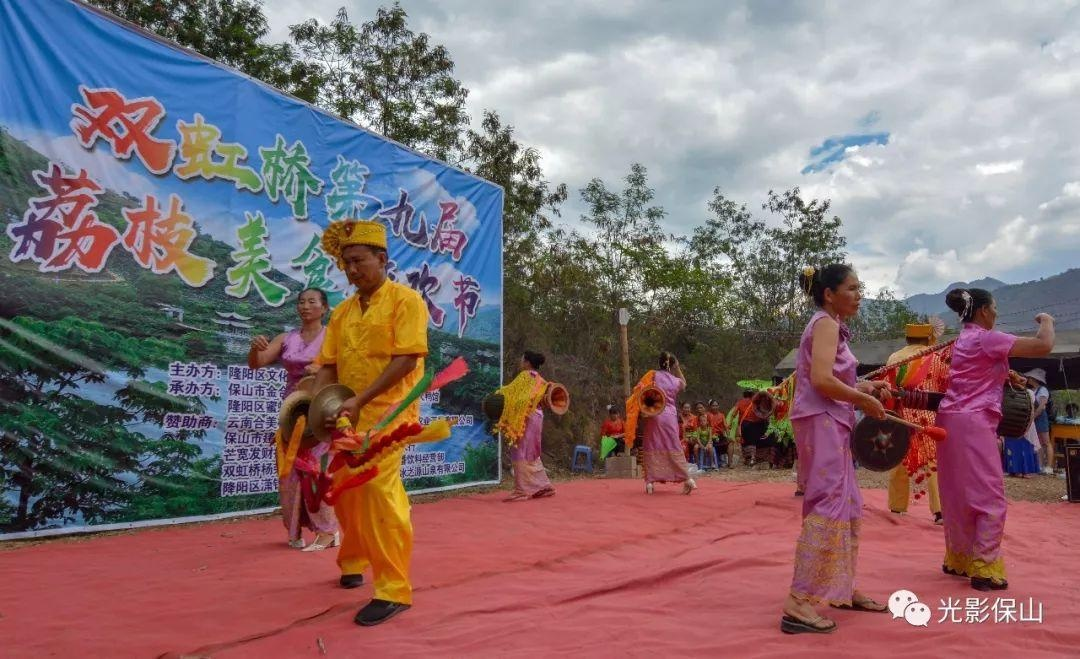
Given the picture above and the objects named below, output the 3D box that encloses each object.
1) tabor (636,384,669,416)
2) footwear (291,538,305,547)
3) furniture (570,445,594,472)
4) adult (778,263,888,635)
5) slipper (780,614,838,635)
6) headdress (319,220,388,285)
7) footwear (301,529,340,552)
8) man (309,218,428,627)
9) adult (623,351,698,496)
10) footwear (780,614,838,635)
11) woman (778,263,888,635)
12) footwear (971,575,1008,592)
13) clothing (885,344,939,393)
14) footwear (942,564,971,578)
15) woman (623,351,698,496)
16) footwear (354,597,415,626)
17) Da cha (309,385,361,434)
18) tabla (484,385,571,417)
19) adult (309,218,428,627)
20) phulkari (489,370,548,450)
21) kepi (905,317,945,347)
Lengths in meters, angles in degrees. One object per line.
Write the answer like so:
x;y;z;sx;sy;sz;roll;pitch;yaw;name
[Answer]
1.811;1.162;10.213;0.408;0.462;0.385;4;8;12;tabor
-2.554;2.273;6.672;0.206;0.081;0.070;0;-18;7;footwear
1.025;3.233;15.657;0.613;0.773;0.637;-1;-30;5;furniture
2.285;0.869;4.969;0.894;2.852;0.612;3;-3;-38;adult
2.014;2.225;4.723;0.332;0.100;0.159;-2;-15;9;slipper
-1.541;-0.734;5.213;0.509;0.245;0.470;2;-24;6;headdress
-2.301;2.228;6.624;0.354;0.136;0.165;8;-14;-31;footwear
-1.374;0.677;5.159;0.618;3.167;0.902;3;-4;-44;man
1.991;1.545;10.669;1.235;2.242;0.749;3;-4;-3;adult
2.020;2.219;4.724;0.332;0.100;0.159;-2;-15;9;footwear
2.289;0.869;4.972;0.908;2.852;0.606;3;-3;-37;woman
3.833;2.177;5.375;0.197;0.074;0.147;-6;-10;35;footwear
3.980;0.412;6.570;0.166;0.453;0.371;16;-17;-38;clothing
3.737;2.175;5.646;0.162;0.038;0.147;2;-6;4;footwear
2.012;1.540;10.689;1.257;2.265;0.773;3;-4;-1;woman
-1.240;2.187;4.857;0.143;0.099;0.356;-8;-17;36;footwear
-1.592;0.634;4.889;0.104;0.367;0.391;5;18;37;Da cha
-0.165;1.192;10.276;1.433;0.513;0.553;-3;-6;6;tabla
-1.376;0.677;5.161;0.618;3.167;0.909;3;-4;-44;adult
-0.317;1.242;10.343;0.896;1.126;0.574;25;4;-11;phulkari
4.471;0.042;7.344;0.499;0.412;0.386;1;-4;28;kepi
